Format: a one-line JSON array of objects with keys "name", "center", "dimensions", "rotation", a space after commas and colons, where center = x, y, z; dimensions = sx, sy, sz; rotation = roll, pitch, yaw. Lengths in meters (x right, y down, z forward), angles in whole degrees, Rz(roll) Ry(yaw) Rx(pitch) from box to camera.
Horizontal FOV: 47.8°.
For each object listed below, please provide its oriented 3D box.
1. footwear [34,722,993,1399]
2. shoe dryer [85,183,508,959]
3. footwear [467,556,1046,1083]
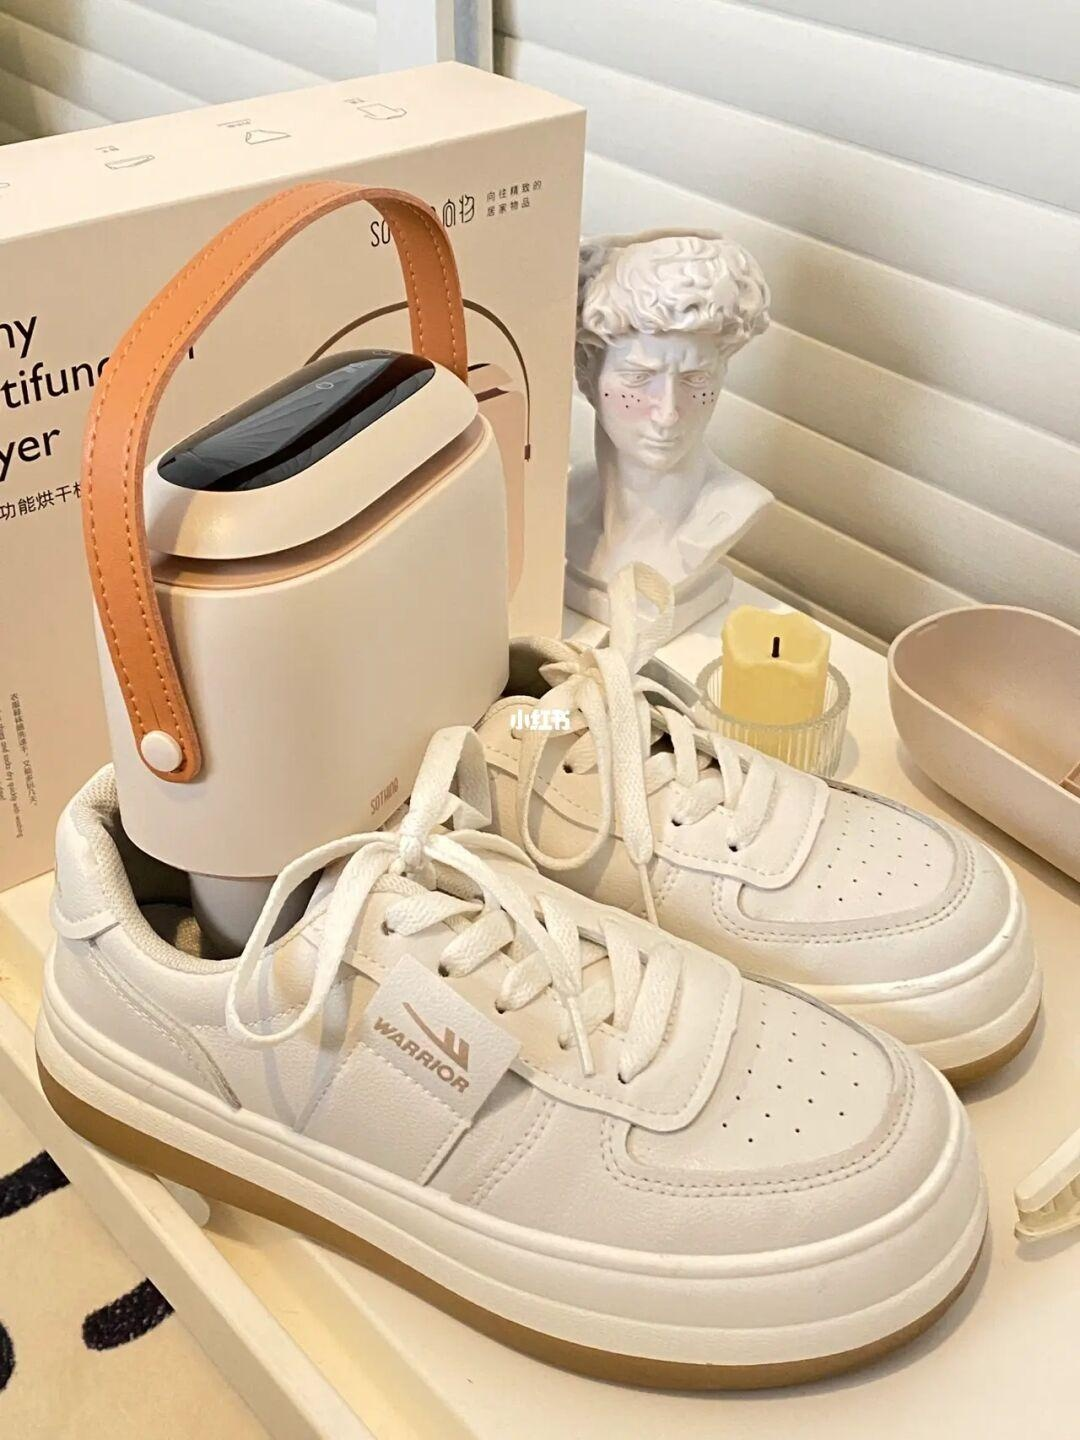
[{"name": "footwear", "center": [-0.037, 0.101, 0.464], "dimensions": [0.359, 0.158, 0.165], "rotation": [12, 33, 13]}, {"name": "shoe dryer", "center": [-0.071, -0.050, 0.438], "dimensions": [0.094, 0.262, 0.222], "rotation": [8, 28, 13]}, {"name": "footwear", "center": [0.058, 0.022, 0.559], "dimensions": [0.310, 0.133, 0.119], "rotation": [23, 51, 21]}]
